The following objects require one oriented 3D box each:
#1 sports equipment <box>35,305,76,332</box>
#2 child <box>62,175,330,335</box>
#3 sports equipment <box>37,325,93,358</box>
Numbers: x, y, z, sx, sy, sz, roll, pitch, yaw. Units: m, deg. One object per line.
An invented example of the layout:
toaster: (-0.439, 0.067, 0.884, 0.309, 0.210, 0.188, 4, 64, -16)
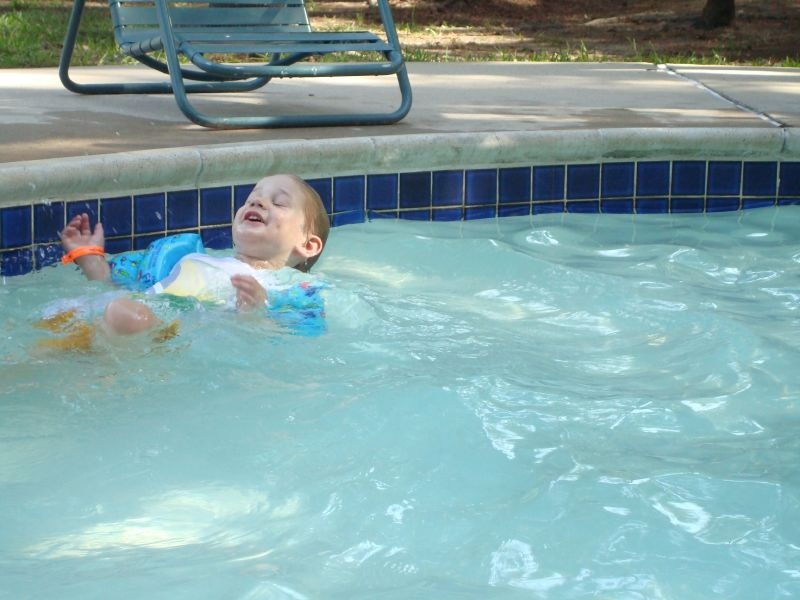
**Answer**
sports equipment: (-0.923, 0.052, 2.452, 0.086, 0.018, 0.060, 12, 32, 29)
child: (-0.518, -0.144, 2.682, 0.549, 0.232, 0.753, 18, 19, 40)
sports equipment: (-0.869, 0.102, 2.363, 0.115, 0.031, 0.071, 0, 22, 8)
